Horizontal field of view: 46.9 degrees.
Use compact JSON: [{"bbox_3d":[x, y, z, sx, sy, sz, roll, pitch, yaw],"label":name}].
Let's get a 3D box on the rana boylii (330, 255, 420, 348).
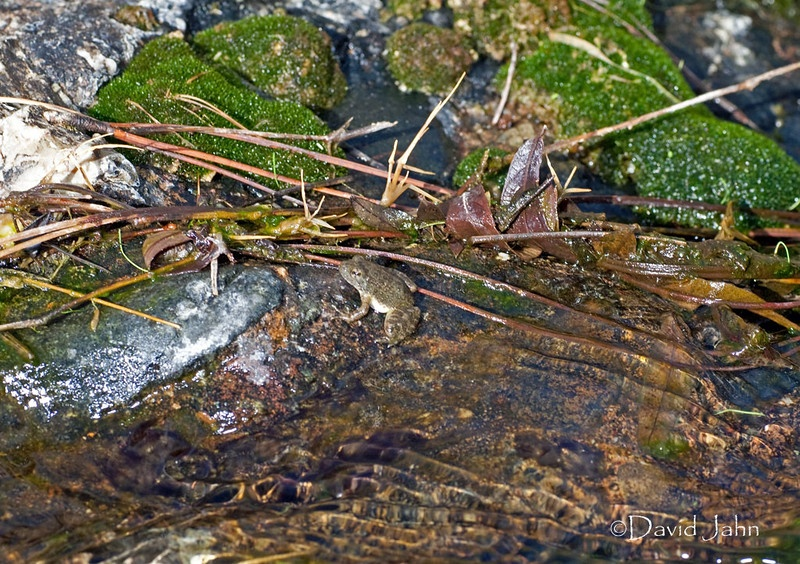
[{"bbox_3d":[-0.142,0.129,6.283,0.574,0.205,0.528,6,58,0],"label":"rana boylii"}]
